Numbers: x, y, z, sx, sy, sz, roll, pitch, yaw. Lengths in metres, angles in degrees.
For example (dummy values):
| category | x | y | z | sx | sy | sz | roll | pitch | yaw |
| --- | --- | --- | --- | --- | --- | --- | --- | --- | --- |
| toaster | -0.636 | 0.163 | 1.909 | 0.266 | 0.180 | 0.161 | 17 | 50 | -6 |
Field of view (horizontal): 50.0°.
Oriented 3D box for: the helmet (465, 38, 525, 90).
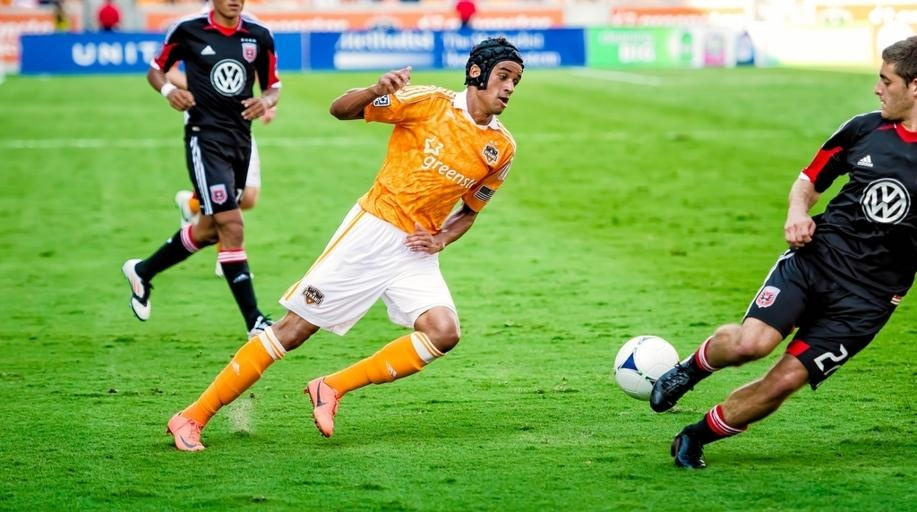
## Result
| category | x | y | z | sx | sy | sz | roll | pitch | yaw |
| --- | --- | --- | --- | --- | --- | --- | --- | --- | --- |
| helmet | 0.290 | -1.556 | 8.030 | 0.528 | 0.405 | 0.386 | 4 | 9 | 0 |

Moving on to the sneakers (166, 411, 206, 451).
| category | x | y | z | sx | sy | sz | roll | pitch | yaw |
| --- | --- | --- | --- | --- | --- | --- | --- | --- | --- |
| sneakers | -2.178 | 1.402 | 7.872 | 0.296 | 0.249 | 0.270 | 1 | 14 | -12 |

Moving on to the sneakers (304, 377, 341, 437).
| category | x | y | z | sx | sy | sz | roll | pitch | yaw |
| --- | --- | --- | --- | --- | --- | --- | --- | --- | --- |
| sneakers | -1.079 | 1.206 | 7.949 | 0.294 | 0.502 | 0.195 | -16 | -13 | 4 |

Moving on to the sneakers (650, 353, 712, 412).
| category | x | y | z | sx | sy | sz | roll | pitch | yaw |
| --- | --- | --- | --- | --- | --- | --- | --- | --- | --- |
| sneakers | 1.841 | 1.059 | 8.144 | 0.616 | 0.200 | 0.250 | -32 | 23 | 4 |

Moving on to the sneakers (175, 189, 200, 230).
| category | x | y | z | sx | sy | sz | roll | pitch | yaw |
| --- | --- | --- | --- | --- | --- | --- | --- | --- | --- |
| sneakers | -2.710 | -0.506 | 10.000 | 0.161 | 0.273 | 0.413 | 13 | 0 | -31 |
